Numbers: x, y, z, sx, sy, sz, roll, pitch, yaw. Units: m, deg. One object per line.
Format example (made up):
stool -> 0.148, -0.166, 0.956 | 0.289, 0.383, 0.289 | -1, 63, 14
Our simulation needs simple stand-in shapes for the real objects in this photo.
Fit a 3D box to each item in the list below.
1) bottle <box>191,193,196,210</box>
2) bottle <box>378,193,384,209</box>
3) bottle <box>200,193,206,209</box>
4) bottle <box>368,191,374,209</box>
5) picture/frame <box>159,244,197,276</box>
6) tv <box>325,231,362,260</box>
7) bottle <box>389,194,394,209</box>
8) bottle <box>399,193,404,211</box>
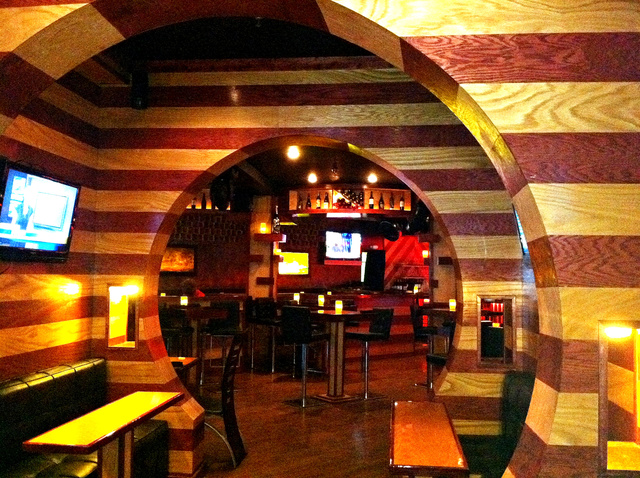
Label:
bottle -> -2.544, -0.700, 11.299 | 0.111, 0.247, 0.254 | 2, -1, -13
bottle -> 1.265, -0.767, 11.556 | 0.118, 0.284, 0.241 | 2, -1, 6
bottle -> -2.378, -0.765, 11.519 | 0.107, 0.330, 0.421 | 2, -1, -14
bottle -> 1.067, -0.802, 11.592 | 0.137, 0.312, 0.077 | 2, 0, -23
picture/frame -> -2.894, 0.442, 11.383 | 0.981, 0.507, 0.096 | 1, 0, -32
tv -> 0.579, 0.192, 15.272 | 0.098, 0.435, 0.987 | -15, -14, 43
bottle -> 1.485, -0.773, 11.618 | 0.085, 0.259, 0.133 | 2, 0, 7
bottle -> 1.678, -0.732, 11.584 | 0.099, 0.282, 0.227 | 2, -1, 2
